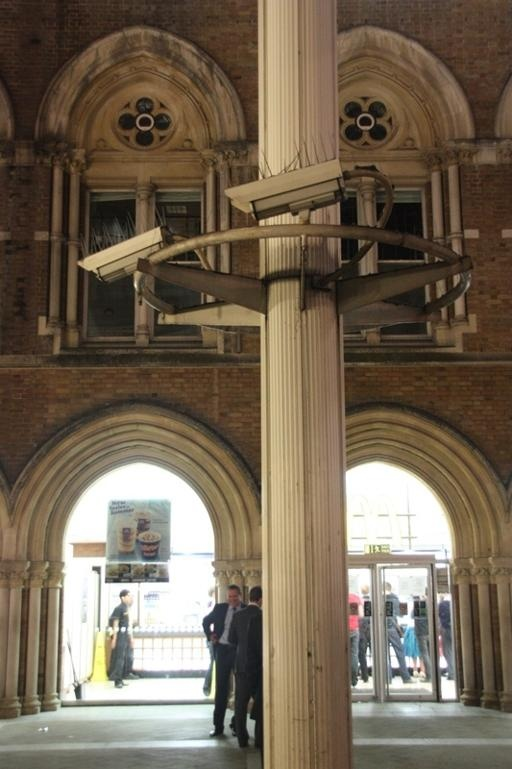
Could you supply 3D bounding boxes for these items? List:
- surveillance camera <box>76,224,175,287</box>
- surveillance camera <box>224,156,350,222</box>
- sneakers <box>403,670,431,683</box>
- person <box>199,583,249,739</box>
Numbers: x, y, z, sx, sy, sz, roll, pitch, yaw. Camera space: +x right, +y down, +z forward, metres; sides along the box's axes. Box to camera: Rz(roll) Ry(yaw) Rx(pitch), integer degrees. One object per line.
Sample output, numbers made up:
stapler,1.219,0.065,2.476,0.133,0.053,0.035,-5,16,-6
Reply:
surveillance camera,-0.923,-0.933,8.930,0.898,0.352,0.285,-21,-61,20
surveillance camera,0.199,-1.250,8.053,0.739,0.224,0.461,-3,-12,9
sneakers,1.998,3.630,15.388,0.323,0.141,0.061,3,-14,-17
person,-0.283,2.843,12.839,0.627,1.566,0.433,0,-6,36
